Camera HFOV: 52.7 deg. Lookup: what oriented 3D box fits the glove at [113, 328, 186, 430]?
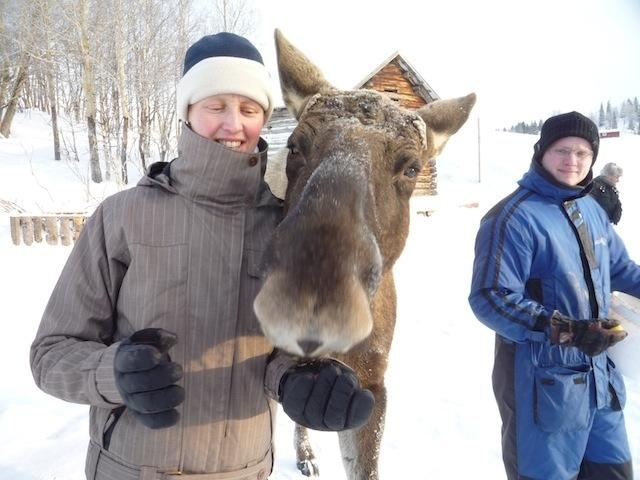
[{"bbox_3d":[-1.512,1.226,5.675,0.578,0.887,0.319,4,7,13],"label":"glove"}]
